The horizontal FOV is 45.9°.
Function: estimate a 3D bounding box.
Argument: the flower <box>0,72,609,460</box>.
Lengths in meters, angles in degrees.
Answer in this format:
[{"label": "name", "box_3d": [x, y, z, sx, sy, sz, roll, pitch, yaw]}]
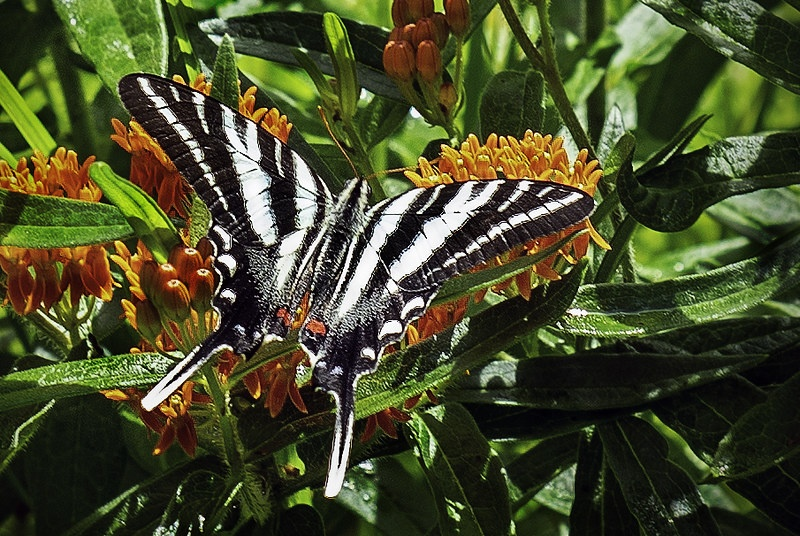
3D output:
[{"label": "flower", "box_3d": [-0.124, -0.022, 1.550, 0.875, 0.606, 0.156, 20, -11, -2]}]
